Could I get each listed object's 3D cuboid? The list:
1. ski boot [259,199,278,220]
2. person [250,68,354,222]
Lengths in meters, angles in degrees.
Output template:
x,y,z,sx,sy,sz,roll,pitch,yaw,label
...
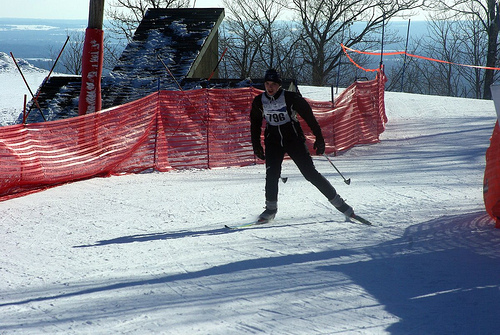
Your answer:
x,y,z,sx,sy,sz,roll,pitch,yaw,label
0.315,0.657,8.770,0.383,0.316,0.167,-10,13,-43,ski boot
0.696,-0.356,8.681,1.326,2.392,0.517,-2,11,-1,person
